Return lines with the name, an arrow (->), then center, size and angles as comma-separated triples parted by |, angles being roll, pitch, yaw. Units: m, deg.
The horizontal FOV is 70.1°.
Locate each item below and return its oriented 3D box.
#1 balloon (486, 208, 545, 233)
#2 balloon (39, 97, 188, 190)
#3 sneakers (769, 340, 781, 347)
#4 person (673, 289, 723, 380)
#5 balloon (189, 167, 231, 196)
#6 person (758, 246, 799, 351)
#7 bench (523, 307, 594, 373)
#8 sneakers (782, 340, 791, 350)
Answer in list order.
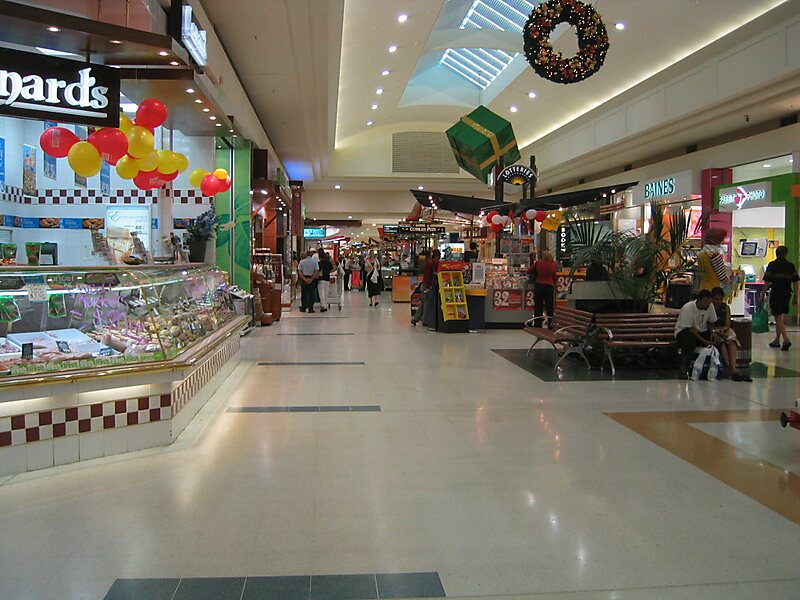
balloon -> 2.808, -1.911, 13.900 | 1.349, 0.581, 1.769 | 7, 9, 42
balloon -> -2.789, -1.671, 5.810 | 0.781, 0.893, 1.420 | 1, 7, 9
sneakers -> 5.589, 0.655, 8.508 | 0.172, 0.074, 0.093 | 0, 5, -12
person -> 3.355, 0.368, 6.464 | 0.418, 0.970, 0.334 | 3, 6, 21
balloon -> -2.694, -1.679, 8.247 | 0.456, 0.248, 0.484 | -5, 5, -1
person -> 5.854, -0.065, 8.771 | 0.456, 1.509, 1.472 | 4, 7, 33
bench -> 2.072, 0.443, 7.435 | 0.734, 0.771, 1.856 | 1, 7, 6
sneakers -> 5.606, 0.662, 8.323 | 0.090, 0.108, 0.258 | 0, 3, 4
